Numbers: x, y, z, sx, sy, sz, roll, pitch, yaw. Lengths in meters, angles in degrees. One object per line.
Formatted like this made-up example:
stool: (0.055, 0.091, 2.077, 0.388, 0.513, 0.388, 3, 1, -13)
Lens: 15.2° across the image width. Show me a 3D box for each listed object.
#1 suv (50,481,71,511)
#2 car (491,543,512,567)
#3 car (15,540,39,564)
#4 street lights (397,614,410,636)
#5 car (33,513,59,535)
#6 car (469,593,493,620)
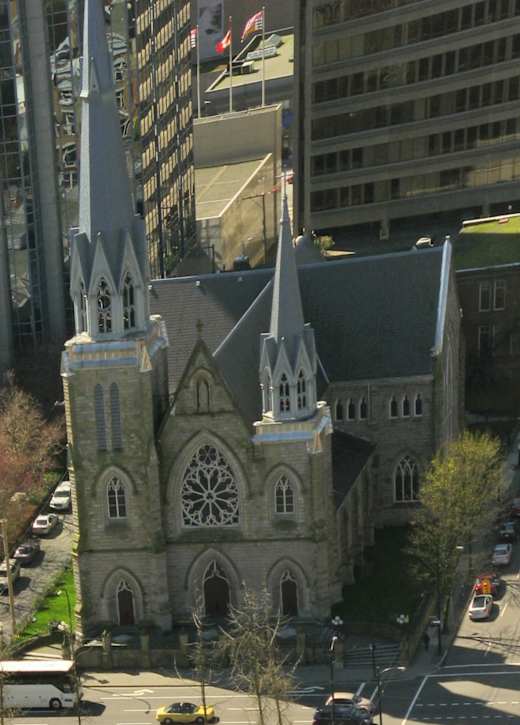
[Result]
suv: (-14.732, 10.040, 145.093, 1.496, 1.632, 4.312, -1, 10, -1)
car: (16.297, 13.166, 130.189, 1.245, 1.243, 2.064, 0, 4, 13)
car: (-16.110, 13.588, 135.078, 1.252, 1.360, 2.698, 0, 4, 14)
street lights: (8.992, 16.518, 120.315, 0.724, 0.826, 1.506, 4, 29, 1)
car: (-15.416, 12.000, 140.091, 1.207, 1.301, 2.346, 0, 4, 16)
car: (14.164, 15.886, 123.698, 1.292, 1.406, 1.861, 1, 5, 25)
